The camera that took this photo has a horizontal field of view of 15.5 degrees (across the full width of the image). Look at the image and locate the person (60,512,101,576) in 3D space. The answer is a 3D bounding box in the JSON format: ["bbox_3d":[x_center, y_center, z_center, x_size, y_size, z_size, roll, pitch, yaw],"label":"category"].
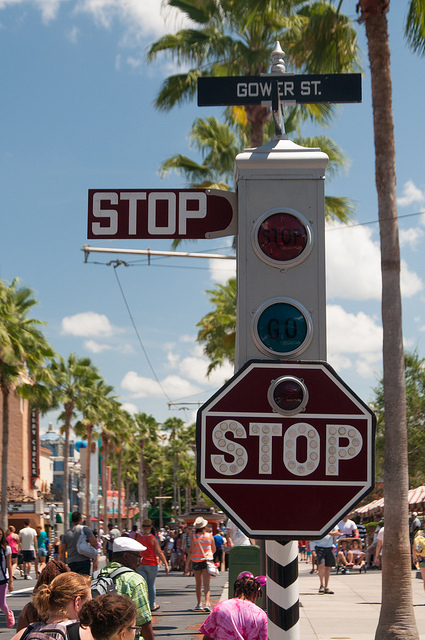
[{"bbox_3d":[-2.056,3.407,23.788,0.491,1.057,0.428,-1,-9,0],"label":"person"}]

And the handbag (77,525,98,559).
[{"bbox_3d":[-1.945,3.365,23.698,0.315,0.463,0.387,4,-5,-3],"label":"handbag"}]

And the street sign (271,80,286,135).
[{"bbox_3d":[0.588,-2.016,14.791,0.144,0.568,0.373,3,-5,2],"label":"street sign"}]

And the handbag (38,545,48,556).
[{"bbox_3d":[-3.885,5.215,35.284,0.131,0.156,0.139,-19,-21,40],"label":"handbag"}]

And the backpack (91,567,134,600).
[{"bbox_3d":[-1.153,2.756,16.470,0.311,0.350,0.245,10,-16,-24],"label":"backpack"}]
